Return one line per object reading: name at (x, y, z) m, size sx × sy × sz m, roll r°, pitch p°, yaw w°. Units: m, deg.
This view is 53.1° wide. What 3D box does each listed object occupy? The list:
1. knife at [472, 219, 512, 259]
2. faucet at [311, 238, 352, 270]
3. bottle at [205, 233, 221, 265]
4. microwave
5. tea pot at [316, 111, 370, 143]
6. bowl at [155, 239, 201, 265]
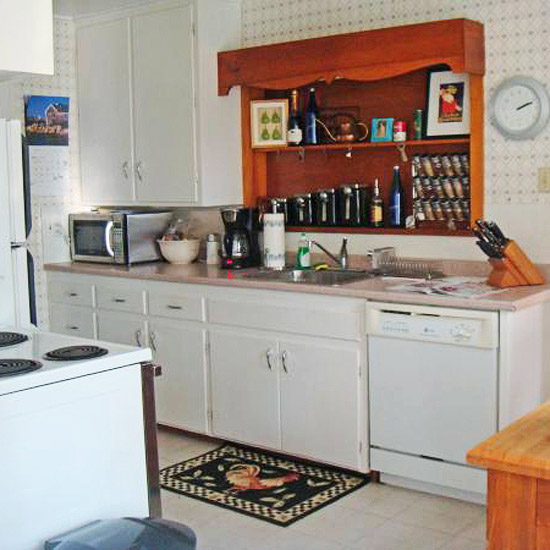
knife at (0.998, -0.151, 2.587) m, size 0.126 × 0.237 × 0.057 m, roll -41°, pitch 34°, yaw -5°
faucet at (0.343, -0.134, 3.432) m, size 0.220 × 0.191 × 0.286 m, roll -3°, pitch 6°, yaw 2°
bottle at (-0.419, -0.173, 3.770) m, size 0.104 × 0.211 × 0.383 m, roll -4°, pitch 6°, yaw -7°
microwave at (-1.127, -0.272, 4.000) m, size 0.654 × 0.351 × 0.494 m, roll 4°, pitch 5°, yaw 35°
tea pot at (0.400, -0.896, 3.396) m, size 0.308 × 0.178 × 0.190 m, roll 5°, pitch 9°, yaw 44°
bowl at (-0.648, -0.167, 3.864) m, size 0.227 × 0.113 × 0.228 m, roll -1°, pitch 4°, yaw 0°
